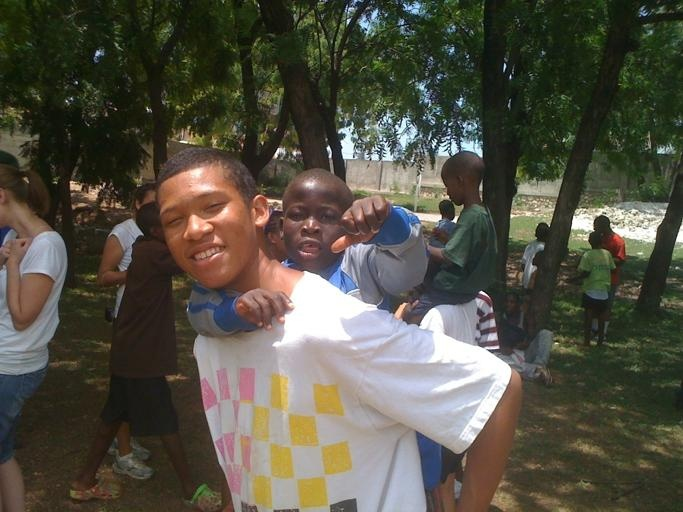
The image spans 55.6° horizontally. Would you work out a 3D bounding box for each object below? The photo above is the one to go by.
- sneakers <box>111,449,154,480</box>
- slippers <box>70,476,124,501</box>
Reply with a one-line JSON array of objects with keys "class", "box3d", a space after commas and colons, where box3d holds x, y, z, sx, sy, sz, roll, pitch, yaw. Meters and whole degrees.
[{"class": "sneakers", "box3d": [-2.025, 2.029, 6.374, 0.398, 0.198, 0.193, 14, 9, 5]}, {"class": "slippers", "box3d": [-2.270, 2.148, 5.965, 0.349, 0.160, 0.217, -1, 6, -19]}]
